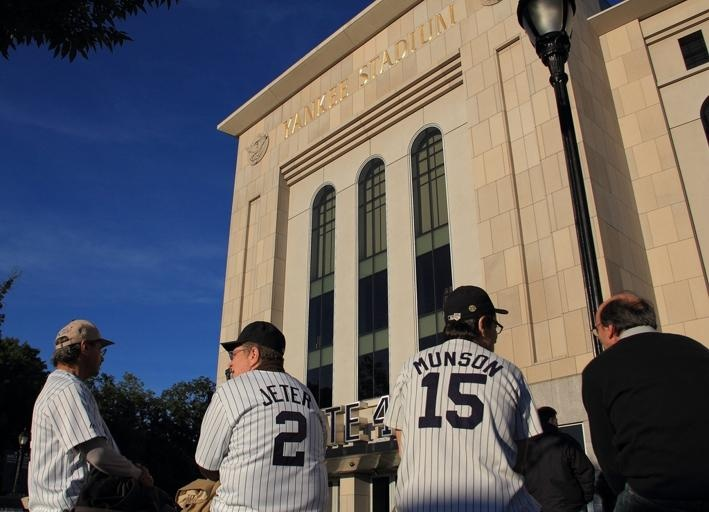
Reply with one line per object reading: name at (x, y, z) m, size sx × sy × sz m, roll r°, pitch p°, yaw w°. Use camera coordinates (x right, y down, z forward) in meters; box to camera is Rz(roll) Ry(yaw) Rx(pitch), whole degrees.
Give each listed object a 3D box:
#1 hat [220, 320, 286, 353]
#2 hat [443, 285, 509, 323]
hat at (-0.979, 0.892, 5.596) m, size 0.491 × 0.311 × 0.351 m, roll 11°, pitch -18°, yaw 7°
hat at (1.082, 0.481, 5.218) m, size 0.472 × 0.276 × 0.325 m, roll -6°, pitch -3°, yaw -19°
